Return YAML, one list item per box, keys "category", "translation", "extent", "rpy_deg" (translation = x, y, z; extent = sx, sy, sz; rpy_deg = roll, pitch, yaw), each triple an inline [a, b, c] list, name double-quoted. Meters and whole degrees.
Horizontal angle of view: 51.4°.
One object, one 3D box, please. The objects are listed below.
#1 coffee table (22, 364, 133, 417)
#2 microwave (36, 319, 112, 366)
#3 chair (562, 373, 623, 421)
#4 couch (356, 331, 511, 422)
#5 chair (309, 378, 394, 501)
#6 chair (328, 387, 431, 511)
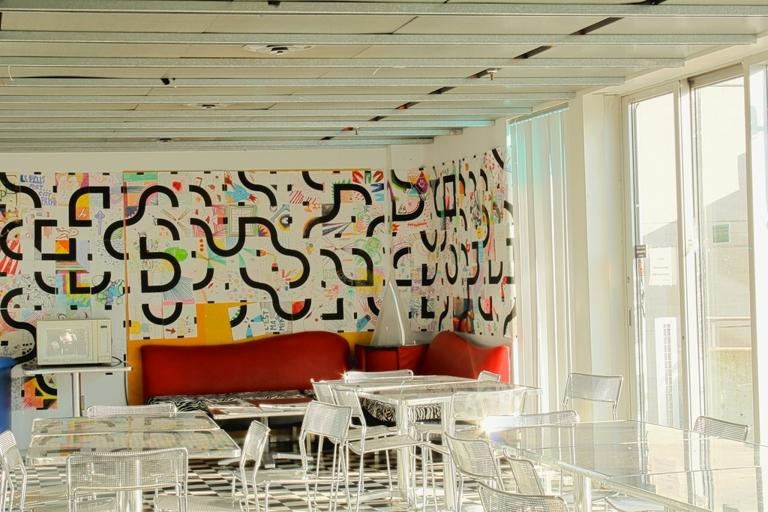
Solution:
- category: "coffee table"
  translation: [-3.721, 1.403, 9.639]
  extent: [1.024, 0.701, 0.813]
  rpy_deg: [0, 0, -9]
- category: "microwave"
  translation: [-3.706, 1.029, 9.611]
  extent: [1.022, 0.616, 0.529]
  rpy_deg: [1, -6, -15]
- category: "chair"
  translation: [1.898, 1.338, 7.435]
  extent: [0.489, 0.572, 1.840]
  rpy_deg: [-4, -5, 11]
- category: "couch"
  translation: [0.697, 1.205, 9.302]
  extent: [1.175, 0.589, 1.440]
  rpy_deg: [3, -5, -21]
- category: "chair"
  translation: [-0.389, 1.590, 7.633]
  extent: [0.952, 1.264, 0.761]
  rpy_deg: [-1, -1, -16]
- category: "chair"
  translation: [-0.092, 1.773, 7.744]
  extent: [1.087, 1.524, 0.957]
  rpy_deg: [-1, -1, -10]
